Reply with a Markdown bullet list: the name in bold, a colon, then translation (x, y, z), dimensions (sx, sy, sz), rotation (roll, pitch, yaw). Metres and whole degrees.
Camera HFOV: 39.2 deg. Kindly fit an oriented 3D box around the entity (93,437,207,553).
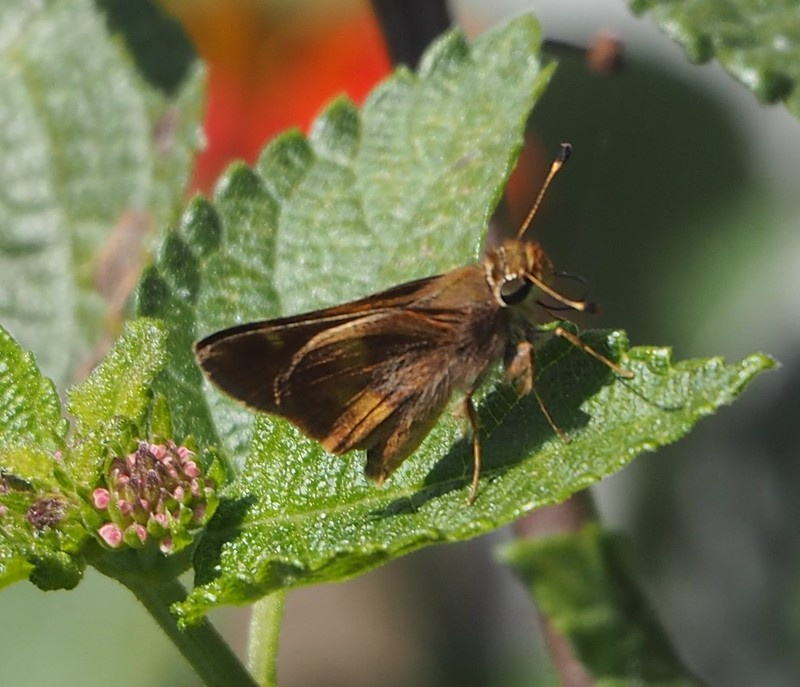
- **entity**: translation (-0.358, 0.250, 1.686), dimensions (0.153, 0.106, 0.150), rotation (-27, 74, -12)
